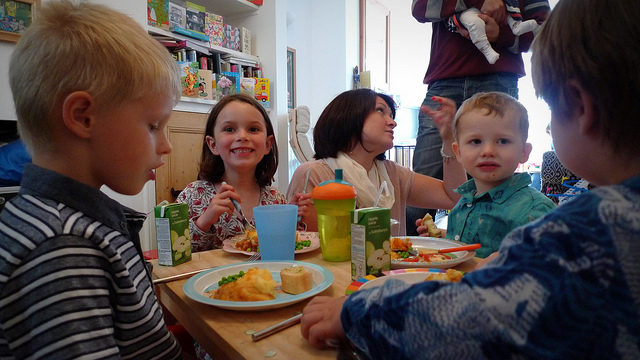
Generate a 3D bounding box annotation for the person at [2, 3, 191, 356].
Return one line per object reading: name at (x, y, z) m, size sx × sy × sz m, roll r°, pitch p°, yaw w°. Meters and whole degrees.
person at (-0.591, 0.012, 1.038) m, size 0.432 × 1.001 × 0.374 m, roll -2°, pitch 9°, yaw -18°

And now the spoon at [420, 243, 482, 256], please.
spoon at (0.447, 0.243, 1.365) m, size 0.231 × 0.030 × 0.036 m, roll -9°, pitch 9°, yaw 13°

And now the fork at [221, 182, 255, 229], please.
fork at (-0.375, 0.125, 1.777) m, size 0.046 × 0.272 × 0.041 m, roll -51°, pitch -14°, yaw 34°

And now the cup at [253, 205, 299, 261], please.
cup at (-0.144, 0.189, 1.327) m, size 0.158 × 0.158 × 0.145 m, roll -4°, pitch -4°, yaw 0°

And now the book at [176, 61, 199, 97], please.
book at (-1.017, -0.784, 3.072) m, size 0.080 × 0.286 × 0.243 m, roll 5°, pitch 10°, yaw 26°

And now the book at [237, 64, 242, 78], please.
book at (-0.714, -0.965, 3.493) m, size 0.038 × 0.125 × 0.102 m, roll -1°, pitch 9°, yaw -11°

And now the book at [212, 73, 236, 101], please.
book at (-0.851, -0.789, 3.374) m, size 0.096 × 0.228 × 0.285 m, roll 6°, pitch 16°, yaw 23°

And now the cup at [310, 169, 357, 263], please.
cup at (0.084, 0.125, 1.363) m, size 0.201 × 0.291 × 0.202 m, roll 1°, pitch -10°, yaw 0°

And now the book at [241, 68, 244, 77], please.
book at (-0.706, -0.980, 3.576) m, size 0.021 × 0.079 × 0.086 m, roll -1°, pitch 9°, yaw -10°

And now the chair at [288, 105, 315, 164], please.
chair at (-0.175, -0.438, 3.767) m, size 0.222 × 0.526 × 0.390 m, roll 0°, pitch 9°, yaw -4°

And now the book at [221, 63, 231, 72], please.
book at (-0.826, -0.984, 3.448) m, size 0.089 × 0.079 × 0.066 m, roll 8°, pitch 10°, yaw 38°

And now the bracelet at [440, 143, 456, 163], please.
bracelet at (0.648, -0.130, 1.975) m, size 0.076 × 0.087 × 0.028 m, roll 7°, pitch 39°, yaw 27°

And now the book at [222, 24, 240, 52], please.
book at (-0.781, -1.253, 3.479) m, size 0.061 × 0.208 × 0.230 m, roll 4°, pitch 9°, yaw 20°

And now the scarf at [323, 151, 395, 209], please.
scarf at (0.176, 0.004, 1.813) m, size 0.271 × 0.237 × 0.154 m, roll 10°, pitch -32°, yaw -44°

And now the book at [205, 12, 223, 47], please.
book at (-0.892, -1.261, 3.309) m, size 0.188 × 0.269 × 0.068 m, roll -7°, pitch 12°, yaw -42°

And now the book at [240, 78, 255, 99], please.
book at (-0.644, -0.832, 3.504) m, size 0.051 × 0.158 × 0.169 m, roll 7°, pitch 10°, yaw 34°

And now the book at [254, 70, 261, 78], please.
book at (-0.587, -0.996, 3.691) m, size 0.064 × 0.070 × 0.046 m, roll -1°, pitch 9°, yaw -14°

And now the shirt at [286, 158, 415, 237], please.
shirt at (0.133, 0.070, 1.688) m, size 0.485 × 0.259 × 0.145 m, roll 0°, pitch -2°, yaw -8°

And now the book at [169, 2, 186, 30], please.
book at (-1.084, -1.237, 2.986) m, size 0.020 × 0.171 × 0.147 m, roll 7°, pitch 11°, yaw 36°

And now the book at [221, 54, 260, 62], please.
book at (-0.705, -1.095, 3.565) m, size 0.091 × 0.041 × 0.386 m, roll 8°, pitch 11°, yaw 42°
